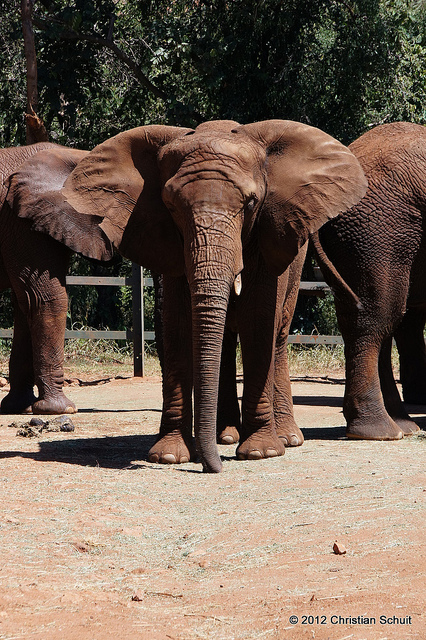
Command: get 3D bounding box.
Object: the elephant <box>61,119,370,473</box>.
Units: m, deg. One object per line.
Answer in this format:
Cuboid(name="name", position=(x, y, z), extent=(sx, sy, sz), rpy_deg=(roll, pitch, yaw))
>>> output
Cuboid(name="elephant", position=(0.101, -0.157, 5.325), extent=(1.612, 1.932, 2.508), rpy_deg=(0, 2, 9))
